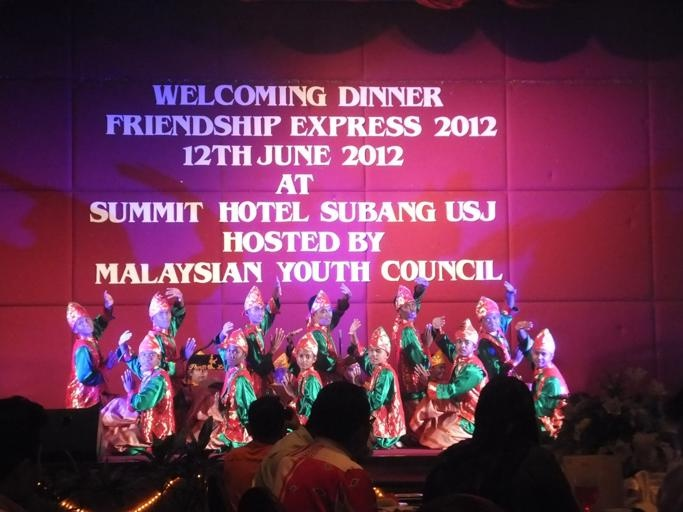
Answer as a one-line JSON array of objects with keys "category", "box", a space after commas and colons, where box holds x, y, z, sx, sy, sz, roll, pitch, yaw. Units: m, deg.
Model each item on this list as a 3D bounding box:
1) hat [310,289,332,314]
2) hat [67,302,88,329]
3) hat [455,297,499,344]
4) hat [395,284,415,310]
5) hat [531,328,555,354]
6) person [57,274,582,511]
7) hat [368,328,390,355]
[{"category": "hat", "box": [-0.160, 0.366, 8.339, 0.115, 0.115, 0.170, 2, -35, -22]}, {"category": "hat", "box": [-2.050, 0.472, 8.331, 0.160, 0.150, 0.194, -4, 2, -6]}, {"category": "hat", "box": [1.077, 0.512, 8.476, 0.229, 0.354, 0.267, 23, 0, 1]}, {"category": "hat", "box": [0.485, 0.328, 8.320, 0.137, 0.179, 0.098, 27, -7, -1]}, {"category": "hat", "box": [1.594, 0.680, 8.423, 0.145, 0.205, 0.152, 6, -3, 6]}, {"category": "person", "box": [-0.308, 1.034, 7.681, 3.196, 1.381, 0.739, 2, -7, 0]}, {"category": "hat", "box": [0.311, 0.669, 8.338, 0.167, 0.164, 0.197, 4, -5, 16]}]
